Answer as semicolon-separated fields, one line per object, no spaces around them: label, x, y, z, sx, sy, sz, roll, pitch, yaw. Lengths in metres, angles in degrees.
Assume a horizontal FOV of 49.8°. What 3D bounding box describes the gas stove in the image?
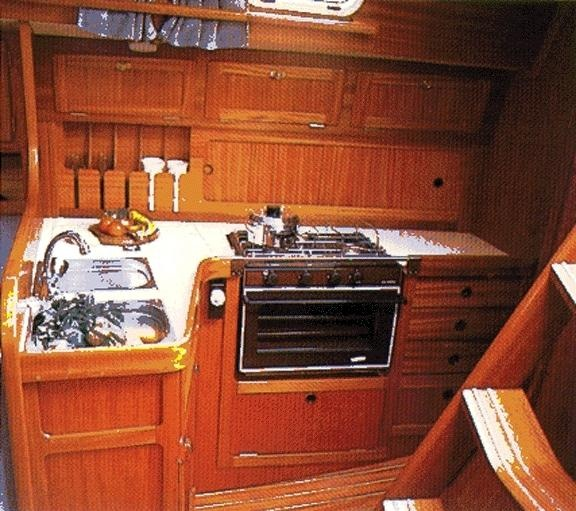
gas stove;0.130;-0.057;3.081;0.853;0.105;0.481;0;18;-9

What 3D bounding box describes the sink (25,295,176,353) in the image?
sink;-0.745;0.267;2.502;0.524;0.152;0.538;-3;19;-17

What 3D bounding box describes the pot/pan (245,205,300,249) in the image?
pot/pan;-0.086;-0.152;3.213;0.225;0.119;0.285;1;13;-3

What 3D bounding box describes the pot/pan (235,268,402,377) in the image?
pot/pan;0.119;0.317;3.060;0.798;0.471;0.517;0;-1;-4
